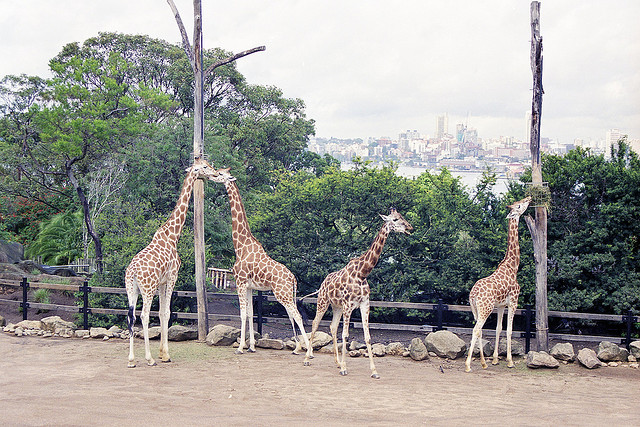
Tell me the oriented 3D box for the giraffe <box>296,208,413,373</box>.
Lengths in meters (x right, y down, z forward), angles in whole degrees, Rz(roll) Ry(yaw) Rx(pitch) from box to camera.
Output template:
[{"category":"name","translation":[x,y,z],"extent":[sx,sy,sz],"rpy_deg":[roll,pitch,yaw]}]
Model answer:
[{"category":"giraffe","translation":[1.123,2.775,31.320],"extent":[3.413,5.770,2.036],"rpy_deg":[0,-5,-2]}]

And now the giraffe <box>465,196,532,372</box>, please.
[{"category":"giraffe","translation":[6.399,2.553,31.686],"extent":[2.368,6.265,0.847],"rpy_deg":[2,-5,-23]}]
